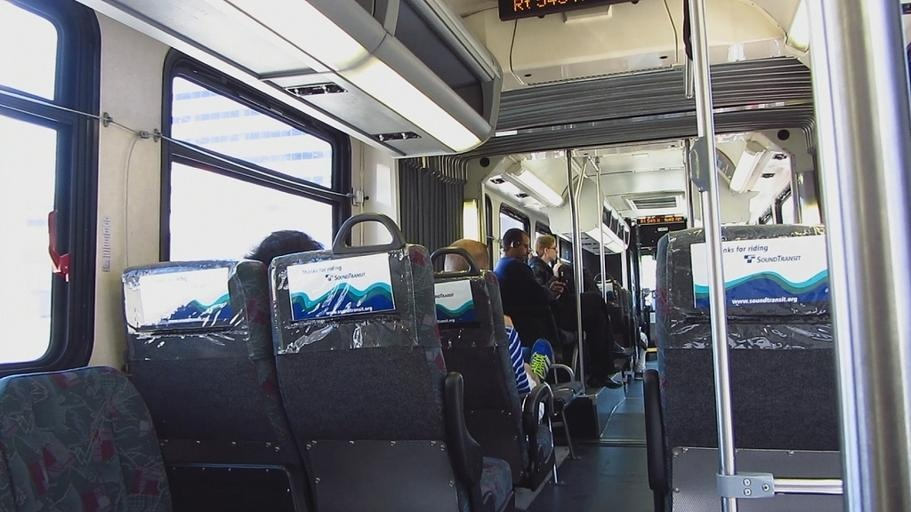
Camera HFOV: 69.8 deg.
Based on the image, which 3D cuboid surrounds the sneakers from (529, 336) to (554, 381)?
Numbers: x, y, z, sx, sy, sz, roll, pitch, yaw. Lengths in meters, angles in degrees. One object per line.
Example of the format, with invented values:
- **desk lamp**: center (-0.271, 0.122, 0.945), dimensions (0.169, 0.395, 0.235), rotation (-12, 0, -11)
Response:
- **sneakers**: center (0.766, 0.960, 5.875), dimensions (0.181, 0.516, 0.206), rotation (15, 46, 21)

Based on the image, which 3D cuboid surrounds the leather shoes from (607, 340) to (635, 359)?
- **leather shoes**: center (1.962, 1.109, 7.711), dimensions (0.270, 0.311, 0.238), rotation (-3, -4, 14)

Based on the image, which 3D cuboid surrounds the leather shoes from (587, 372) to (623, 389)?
- **leather shoes**: center (1.751, 1.460, 7.548), dimensions (0.526, 0.210, 0.172), rotation (-1, 0, -16)
